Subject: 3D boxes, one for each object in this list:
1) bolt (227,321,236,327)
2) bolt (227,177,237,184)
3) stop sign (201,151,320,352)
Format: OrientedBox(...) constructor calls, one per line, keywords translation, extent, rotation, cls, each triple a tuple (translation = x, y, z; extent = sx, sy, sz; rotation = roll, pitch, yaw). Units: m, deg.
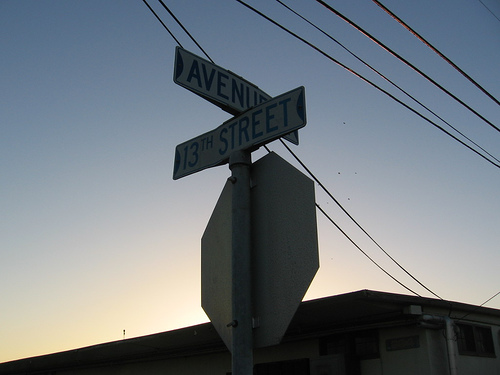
OrientedBox(translation=(-0.172, 1.204, 4.395), extent=(0.031, 0.037, 0.094), rotation=(30, -45, -33), cls="bolt")
OrientedBox(translation=(-0.164, -0.060, 4.624), extent=(0.053, 0.062, 0.013), rotation=(2, -7, 18), cls="bolt")
OrientedBox(translation=(0.067, 0.566, 4.577), extent=(1.095, 1.654, 0.662), rotation=(-4, -34, 11), cls="stop sign")
